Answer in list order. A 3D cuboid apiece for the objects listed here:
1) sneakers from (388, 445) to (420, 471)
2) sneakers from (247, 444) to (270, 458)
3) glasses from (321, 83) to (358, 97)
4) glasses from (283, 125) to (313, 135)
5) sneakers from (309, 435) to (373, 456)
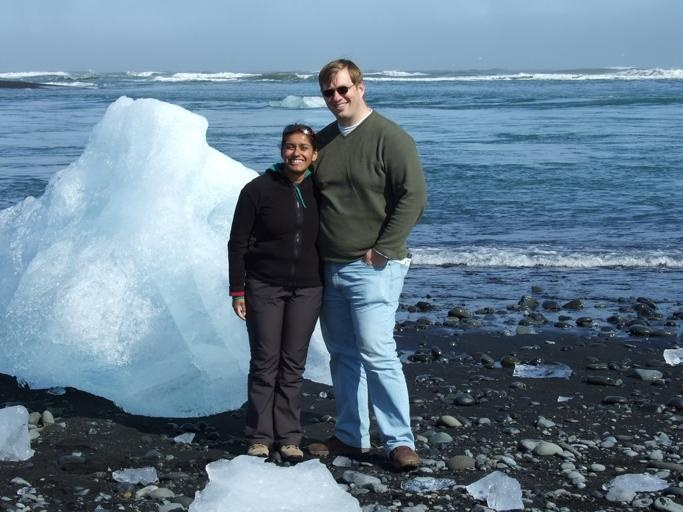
[{"bbox_3d":[0.491,1.549,6.695,0.189,0.163,0.201,-4,12,-18],"label":"sneakers"},{"bbox_3d":[-0.645,1.517,6.794,0.109,0.058,0.163,4,-4,-38],"label":"sneakers"},{"bbox_3d":[-0.048,-1.245,6.616,0.235,0.093,0.079,3,13,20],"label":"glasses"},{"bbox_3d":[-0.322,-0.961,6.665,0.162,0.117,0.038,1,47,2],"label":"glasses"},{"bbox_3d":[-0.023,1.532,7.037,0.533,0.166,0.153,3,-5,1],"label":"sneakers"}]
